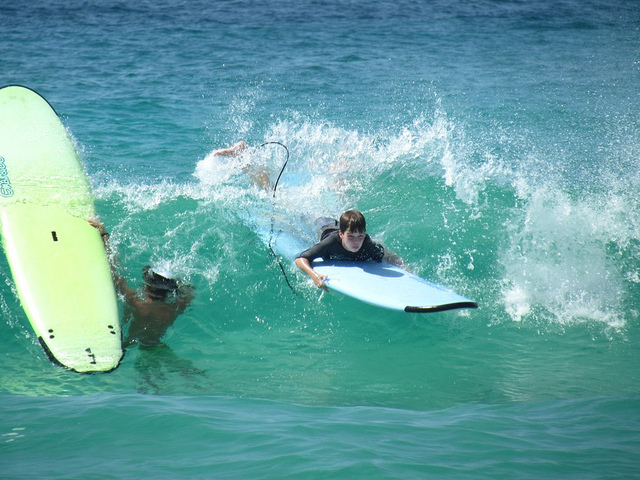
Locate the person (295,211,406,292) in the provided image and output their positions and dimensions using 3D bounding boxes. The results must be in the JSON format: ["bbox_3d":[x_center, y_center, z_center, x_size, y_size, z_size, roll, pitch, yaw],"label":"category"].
[{"bbox_3d":[0.392,0.017,11.639,1.763,0.687,2.047,-2,11,-8],"label":"person"}]
